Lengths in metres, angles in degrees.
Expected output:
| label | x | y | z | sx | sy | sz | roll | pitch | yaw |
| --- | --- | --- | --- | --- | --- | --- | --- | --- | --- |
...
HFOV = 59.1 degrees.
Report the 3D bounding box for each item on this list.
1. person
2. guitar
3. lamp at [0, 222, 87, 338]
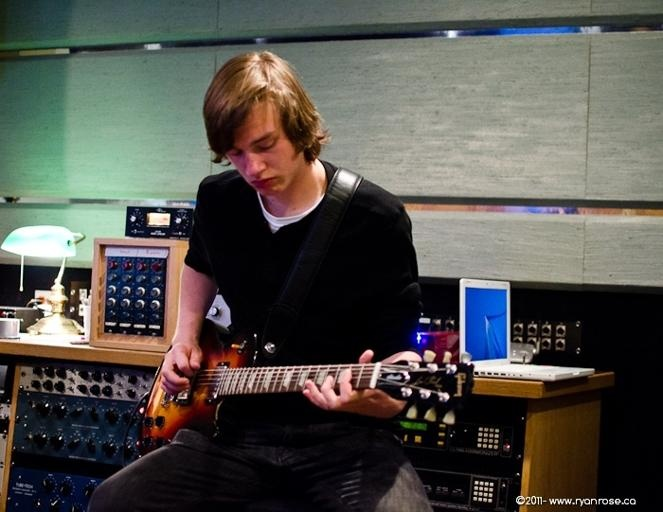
| label | x | y | z | sx | sy | sz | roll | pitch | yaw |
| --- | --- | --- | --- | --- | --- | --- | --- | --- | --- |
| person | -0.163 | 0.070 | 2.073 | 1.047 | 1.607 | 0.541 | 0 | -4 | 11 |
| guitar | -0.183 | 0.450 | 1.954 | 1.172 | 0.485 | 0.122 | -8 | -39 | 37 |
| lamp | -1.646 | 0.131 | 3.353 | 0.418 | 0.612 | 0.562 | 3 | -5 | -27 |
